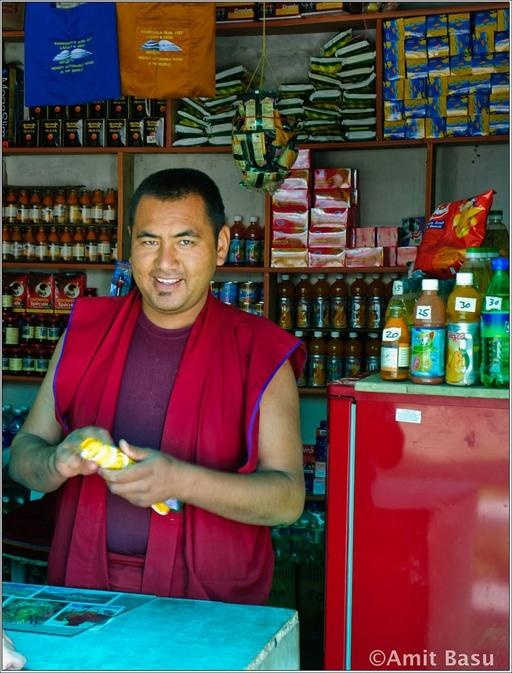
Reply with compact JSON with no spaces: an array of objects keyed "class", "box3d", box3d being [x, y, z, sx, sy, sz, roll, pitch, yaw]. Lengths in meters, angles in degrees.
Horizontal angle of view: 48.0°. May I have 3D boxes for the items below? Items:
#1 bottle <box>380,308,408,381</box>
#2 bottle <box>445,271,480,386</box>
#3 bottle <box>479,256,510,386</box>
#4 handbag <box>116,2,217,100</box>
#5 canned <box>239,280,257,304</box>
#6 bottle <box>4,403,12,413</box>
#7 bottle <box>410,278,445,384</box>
[{"class":"bottle","box3d":[0.356,0.016,1.460,0.065,0.192,0.040,2,-14,7]},{"class":"bottle","box3d":[0.498,-0.003,1.380,0.084,0.247,0.069,-1,-14,18]},{"class":"bottle","box3d":[0.558,-0.030,1.341,0.068,0.297,0.115,-2,-14,19]},{"class":"handbag","box3d":[-0.437,-1.379,2.744,0.479,0.437,0.170,2,-14,5]},{"class":"canned","box3d":[-0.044,-0.253,3.311,0.123,0.123,0.116,0,3,1]},{"class":"bottle","box3d":[-1.558,0.447,3.599,0.051,0.045,0.087,4,3,-14]},{"class":"bottle","box3d":[0.419,-0.009,1.394,0.082,0.248,0.099,-1,-14,16]}]
